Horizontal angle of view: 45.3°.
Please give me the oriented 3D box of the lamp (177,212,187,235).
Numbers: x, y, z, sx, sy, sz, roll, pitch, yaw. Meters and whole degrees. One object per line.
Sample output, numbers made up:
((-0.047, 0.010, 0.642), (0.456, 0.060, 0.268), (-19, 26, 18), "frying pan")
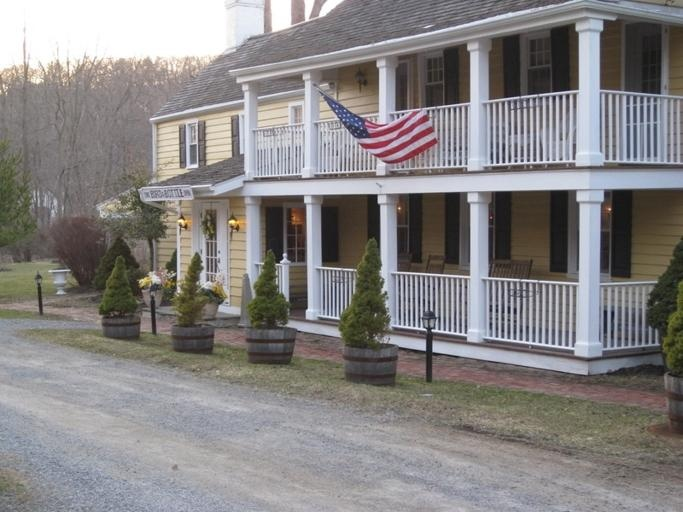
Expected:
((-4.917, -0.990, 25.189), (0.320, 0.656, 0.421), (-3, 8, -31), "lamp")

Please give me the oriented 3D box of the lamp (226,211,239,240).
((-3.081, -0.821, 22.999), (0.217, 0.664, 0.546), (-6, 9, -43), "lamp")

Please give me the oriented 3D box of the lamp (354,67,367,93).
((0.492, -4.440, 20.687), (0.233, 0.497, 0.190), (4, 27, 13), "lamp")
